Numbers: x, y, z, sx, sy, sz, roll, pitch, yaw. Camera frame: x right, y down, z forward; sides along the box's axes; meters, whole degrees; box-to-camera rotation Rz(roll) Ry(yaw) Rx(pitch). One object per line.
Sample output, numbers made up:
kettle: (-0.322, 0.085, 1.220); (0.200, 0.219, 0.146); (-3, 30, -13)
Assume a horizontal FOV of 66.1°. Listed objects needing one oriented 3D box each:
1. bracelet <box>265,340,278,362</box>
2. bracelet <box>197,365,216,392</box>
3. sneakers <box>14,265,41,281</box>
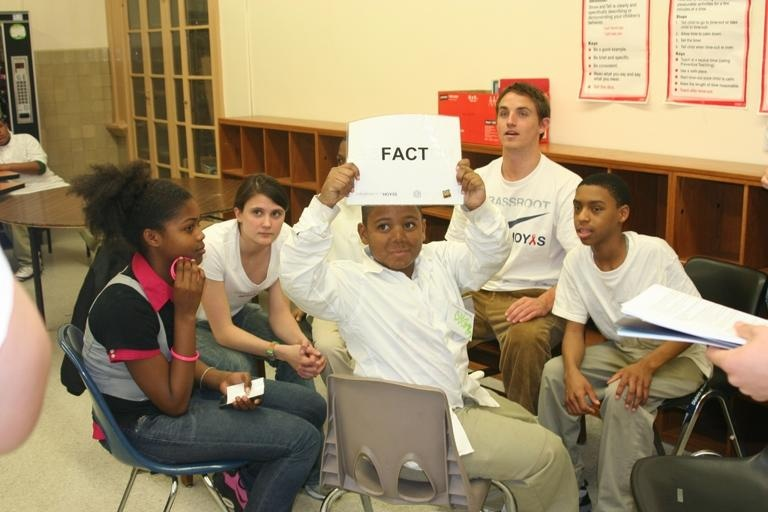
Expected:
bracelet: (-0.545, 0.469, 2.911); (0.065, 0.088, 0.096); (2, 0, -4)
bracelet: (-0.800, 0.540, 2.623); (0.021, 0.083, 0.078); (12, 35, 1)
sneakers: (-2.922, 0.139, 4.843); (0.136, 0.135, 0.337); (2, 3, -22)
